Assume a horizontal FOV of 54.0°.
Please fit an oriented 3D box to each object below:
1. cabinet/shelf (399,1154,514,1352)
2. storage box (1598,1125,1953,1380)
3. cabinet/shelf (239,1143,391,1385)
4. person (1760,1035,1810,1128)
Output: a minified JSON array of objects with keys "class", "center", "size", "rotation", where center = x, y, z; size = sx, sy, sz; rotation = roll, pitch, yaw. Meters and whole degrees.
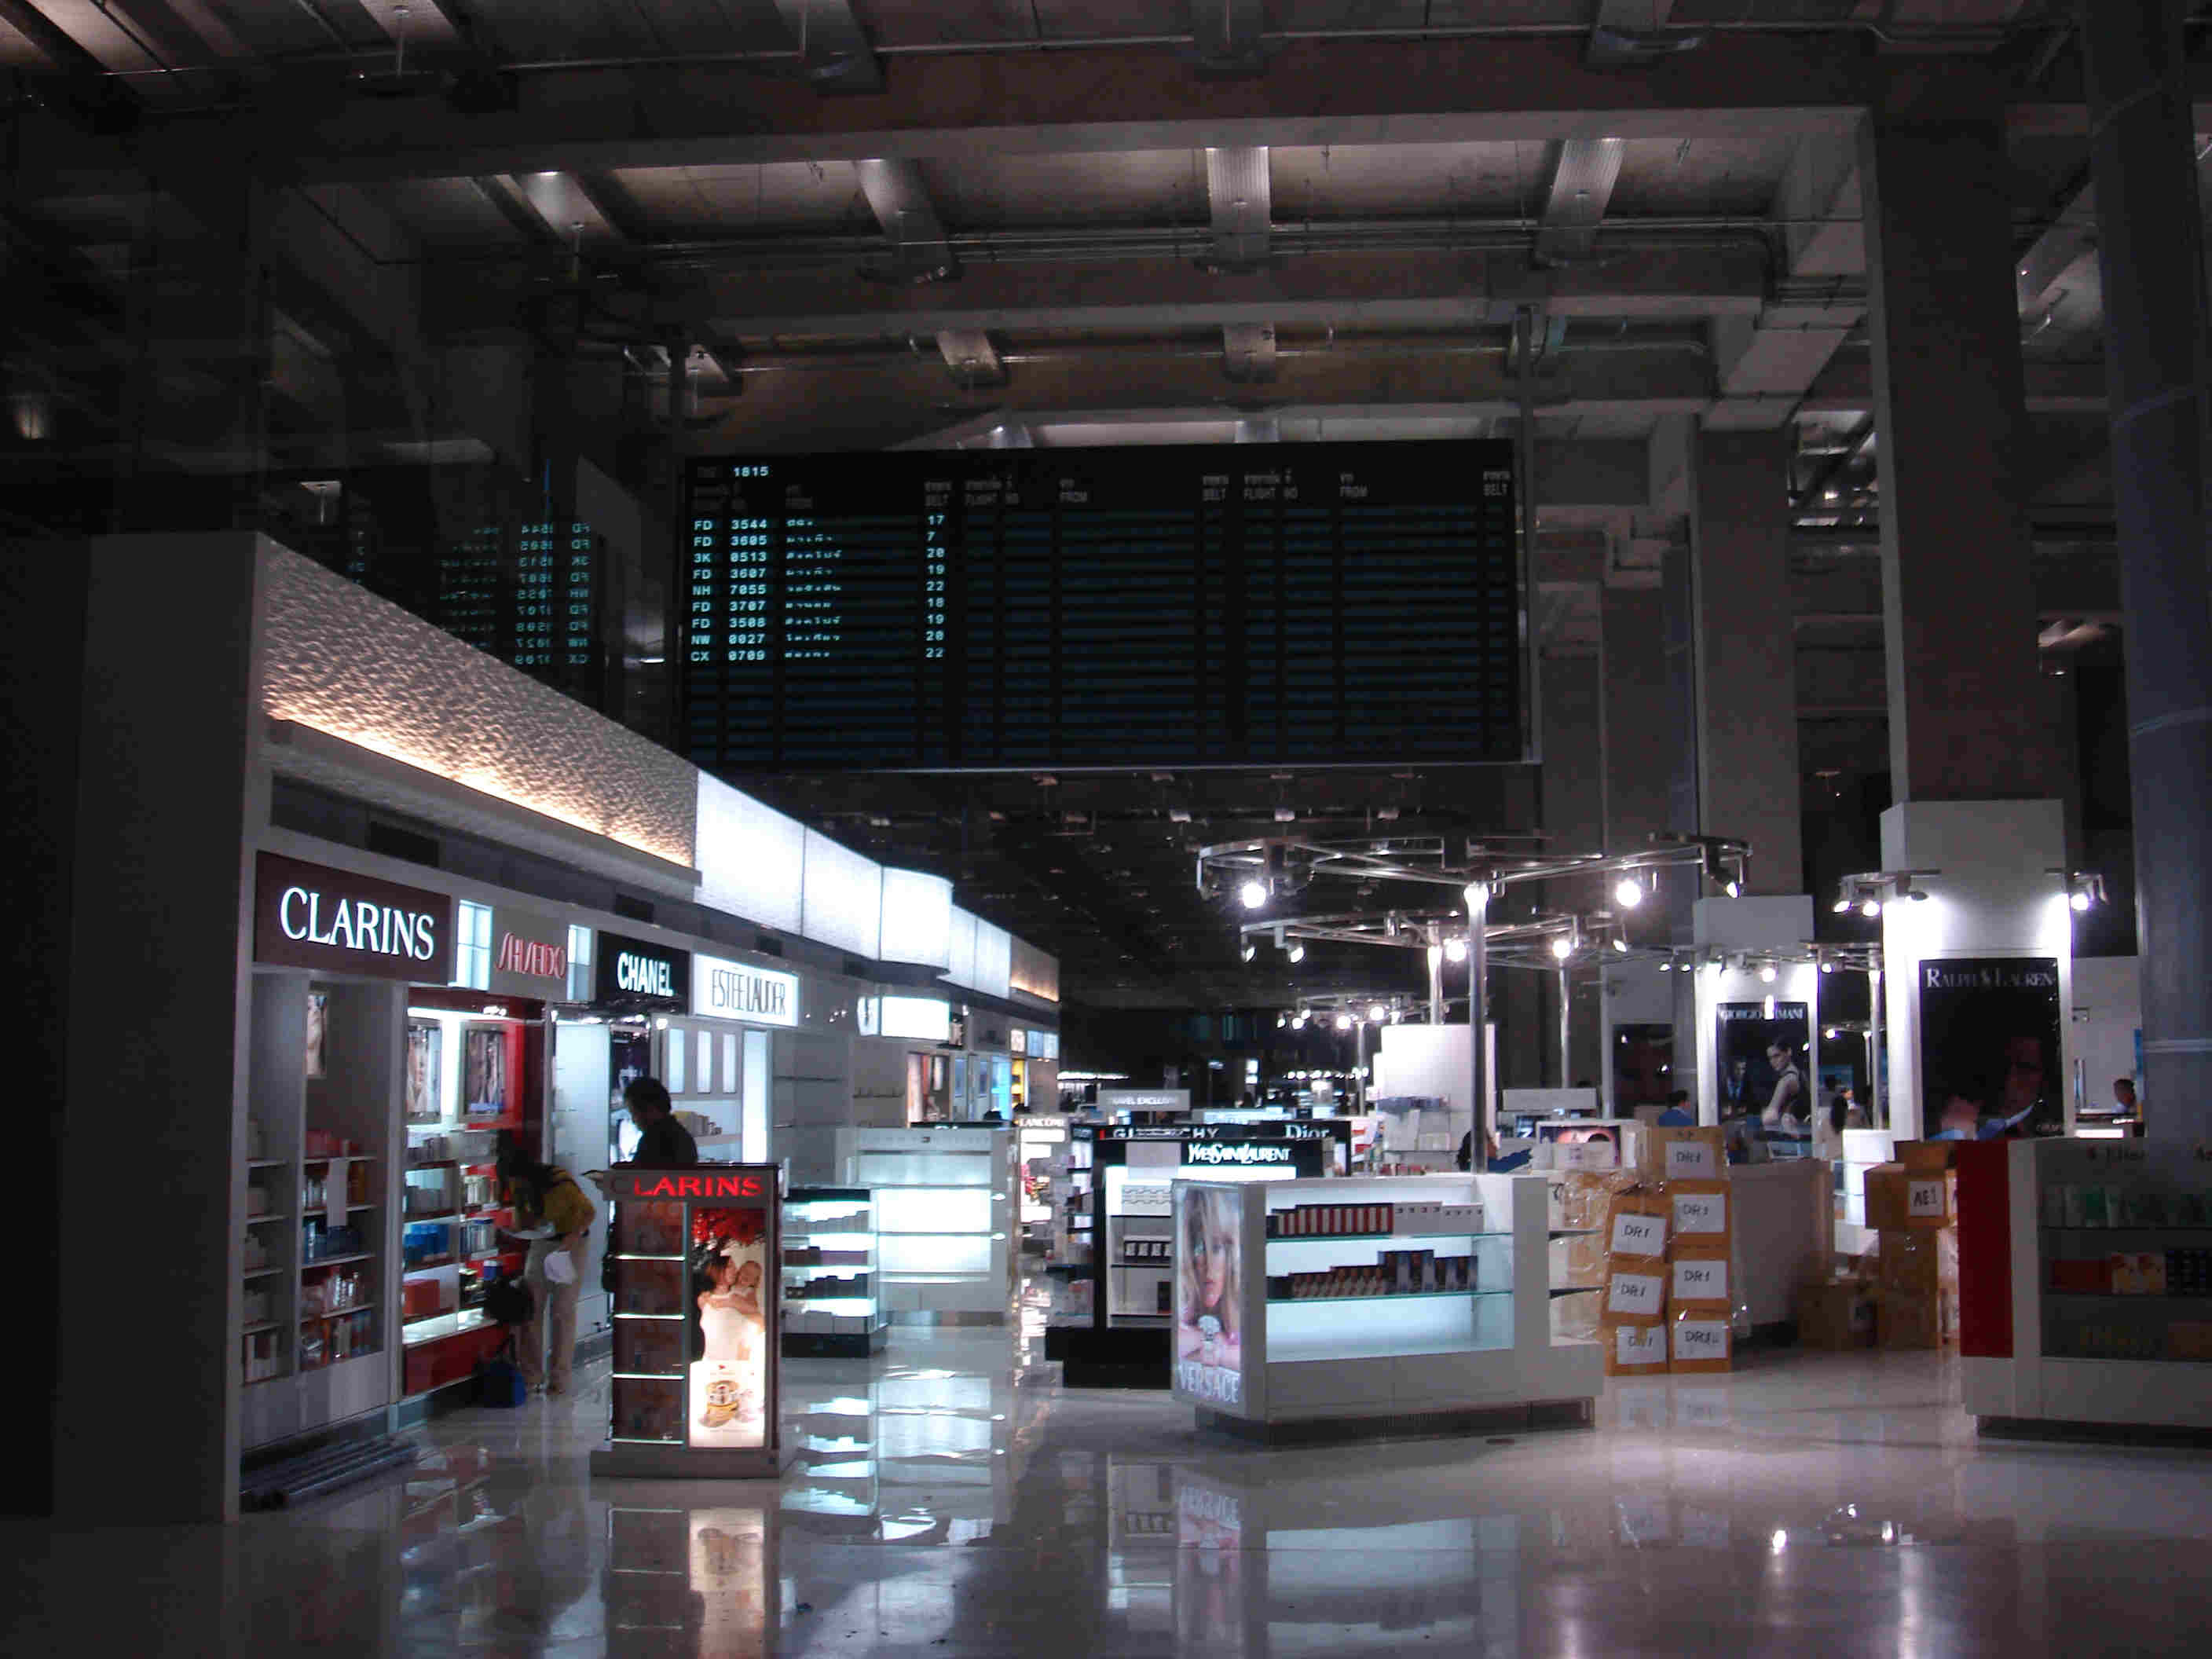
[{"class":"cabinet/shelf","center":[-4.012,2.473,12.862],"size":[0.399,1.099,1.168],"rotation":[-11,-16,17]},{"class":"storage box","center":[4.370,2.932,14.346],"size":[1.914,1.857,0.917],"rotation":[7,0,11]},{"class":"cabinet/shelf","center":[-4.200,2.232,10.939],"size":[0.355,1.083,1.197],"rotation":[-5,-5,26]},{"class":"person","center":[5.578,2.090,17.787],"size":[0.312,0.738,0.426],"rotation":[-3,-4,40]}]
